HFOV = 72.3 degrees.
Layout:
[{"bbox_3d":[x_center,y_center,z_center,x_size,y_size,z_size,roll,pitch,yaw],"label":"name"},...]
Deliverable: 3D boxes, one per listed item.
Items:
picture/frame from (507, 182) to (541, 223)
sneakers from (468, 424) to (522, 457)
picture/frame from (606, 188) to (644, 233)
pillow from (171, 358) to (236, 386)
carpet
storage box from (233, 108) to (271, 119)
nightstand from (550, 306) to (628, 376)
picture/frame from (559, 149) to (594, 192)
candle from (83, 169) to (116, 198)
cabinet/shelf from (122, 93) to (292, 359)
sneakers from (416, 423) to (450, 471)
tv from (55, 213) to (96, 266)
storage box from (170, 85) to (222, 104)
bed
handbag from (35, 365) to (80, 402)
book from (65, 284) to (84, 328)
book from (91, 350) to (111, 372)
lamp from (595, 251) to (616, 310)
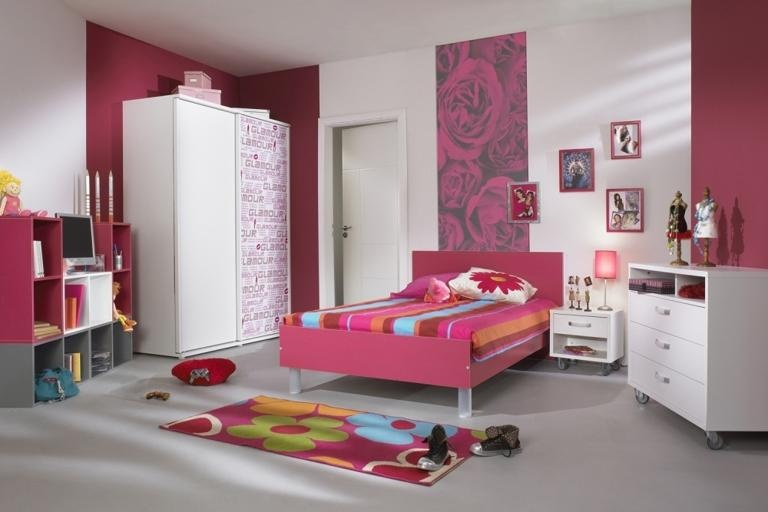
[{"bbox_3d":[1.562,-0.589,5.772,0.480,0.546,0.045,1,1,23],"label":"picture/frame"},{"bbox_3d":[0.753,1.221,3.474,0.424,0.195,0.147,1,-4,-6],"label":"sneakers"},{"bbox_3d":[2.506,-0.467,5.401,0.482,0.585,0.021,-1,0,21],"label":"picture/frame"},{"bbox_3d":[-1.669,1.049,4.758,0.321,0.100,0.317,-1,-1,29],"label":"pillow"},{"bbox_3d":[-0.393,1.263,3.756,2.108,0.053,0.817,3,7,19],"label":"carpet"},{"bbox_3d":[-1.622,-1.731,6.407,0.218,0.129,0.306,0,2,43],"label":"storage box"},{"bbox_3d":[2.076,0.813,5.431,0.914,0.797,0.617,-1,-4,24],"label":"nightstand"},{"bbox_3d":[2.073,-0.909,5.582,0.483,0.567,0.033,2,2,27],"label":"picture/frame"},{"bbox_3d":[-3.053,-0.702,5.615,0.302,0.436,0.380,-4,8,-27],"label":"candle"},{"bbox_3d":[-1.988,-0.334,6.058,1.727,2.808,0.727,-7,10,-44],"label":"cabinet/shelf"},{"bbox_3d":[0.338,1.219,3.265,0.133,0.204,0.310,-4,-7,23],"label":"sneakers"},{"bbox_3d":[-2.876,-0.141,4.843,0.053,0.587,0.528,-2,-1,22],"label":"tv"},{"bbox_3d":[-2.055,-1.807,5.878,0.309,0.114,0.306,3,5,30],"label":"storage box"},{"bbox_3d":[0.633,0.711,4.982,1.657,1.033,2.056,0,0,31],"label":"bed"},{"bbox_3d":[-2.737,1.067,4.379,0.241,0.113,0.278,6,7,36],"label":"handbag"},{"bbox_3d":[-2.790,0.439,4.751,0.076,0.309,0.321,2,0,-6],"label":"book"},{"bbox_3d":[-2.731,1.023,5.040,0.165,0.203,0.219,1,-1,-27],"label":"book"},{"bbox_3d":[2.256,0.240,5.340,0.230,0.579,0.355,3,8,23],"label":"lamp"}]
